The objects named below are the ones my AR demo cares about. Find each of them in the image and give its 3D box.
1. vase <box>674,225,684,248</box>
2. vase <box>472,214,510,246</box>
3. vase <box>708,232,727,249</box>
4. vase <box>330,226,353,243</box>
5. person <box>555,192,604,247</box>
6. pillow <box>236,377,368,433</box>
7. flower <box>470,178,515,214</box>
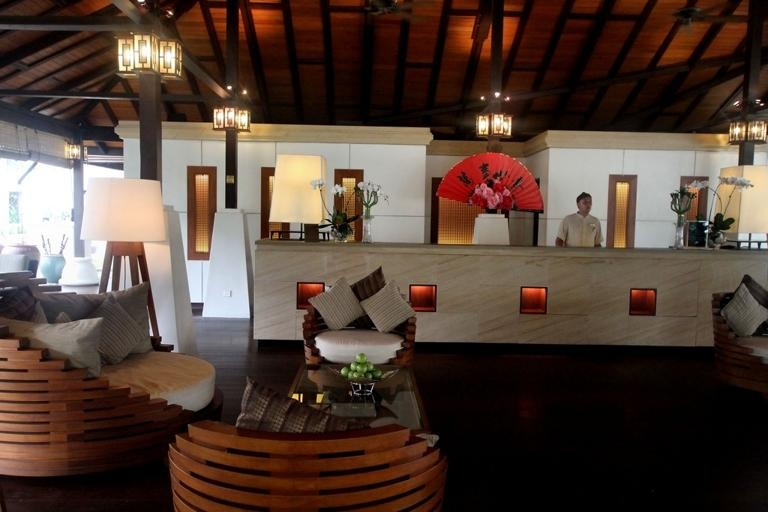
[{"bbox_3d":[4.101,-0.286,7.961,0.106,0.321,0.152,1,3,32],"label":"vase"},{"bbox_3d":[1.641,-0.413,8.686,0.505,0.379,0.492,-1,4,-10],"label":"vase"},{"bbox_3d":[4.707,-0.239,8.119,0.287,0.259,0.252,0,3,5],"label":"vase"},{"bbox_3d":[-0.606,-0.359,8.245,0.291,0.238,0.326,0,8,-5],"label":"vase"},{"bbox_3d":[2.911,-0.551,8.530,0.604,0.761,0.532,0,3,19],"label":"person"},{"bbox_3d":[-0.649,1.077,3.925,0.575,0.166,0.489,13,-3,-4],"label":"pillow"},{"bbox_3d":[1.575,-0.882,8.559,0.619,0.525,0.242,-9,-27,0],"label":"flower"}]
